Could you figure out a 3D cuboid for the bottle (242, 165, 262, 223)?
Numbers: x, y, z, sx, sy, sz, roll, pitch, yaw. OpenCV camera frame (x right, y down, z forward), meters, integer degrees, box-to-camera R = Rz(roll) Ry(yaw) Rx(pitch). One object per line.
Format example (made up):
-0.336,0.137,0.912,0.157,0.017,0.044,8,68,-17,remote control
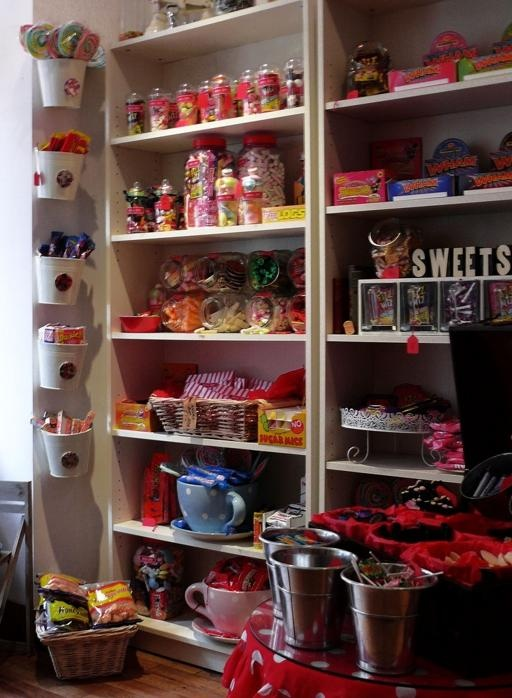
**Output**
-0.016,-0.520,1.938,0.075,0.212,0.137,-2,6,-2,bottle

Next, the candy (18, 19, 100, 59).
-0.747,-1.171,2.198,0.293,0.130,0.160,-4,7,-21,candy

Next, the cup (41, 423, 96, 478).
-0.766,0.392,2.301,0.203,0.160,0.214,0,0,0,cup

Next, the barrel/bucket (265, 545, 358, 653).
0.078,0.364,0.859,0.128,0.111,0.130,0,-10,0,barrel/bucket

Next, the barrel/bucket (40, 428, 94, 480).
-0.739,0.422,2.245,0.204,0.161,0.217,0,1,0,barrel/bucket

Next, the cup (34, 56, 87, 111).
-0.756,-1.032,2.220,0.185,0.151,0.200,1,4,0,cup

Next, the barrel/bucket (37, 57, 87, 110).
-0.747,-1.027,2.235,0.178,0.144,0.192,1,5,0,barrel/bucket

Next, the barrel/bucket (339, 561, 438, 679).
0.170,0.347,0.769,0.127,0.104,0.124,0,-8,0,barrel/bucket

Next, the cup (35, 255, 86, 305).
-0.760,-0.266,2.243,0.180,0.142,0.192,3,2,0,cup

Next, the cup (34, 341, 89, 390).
-0.751,0.063,2.193,0.183,0.144,0.192,6,-1,0,cup

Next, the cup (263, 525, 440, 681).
0.139,0.280,0.791,0.267,0.119,0.132,-1,-7,40,cup

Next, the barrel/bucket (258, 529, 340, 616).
0.065,0.354,0.970,0.141,0.138,0.136,1,-4,0,barrel/bucket

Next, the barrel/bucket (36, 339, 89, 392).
-0.747,0.062,2.193,0.198,0.146,0.177,7,2,31,barrel/bucket

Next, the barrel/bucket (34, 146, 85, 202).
-0.755,-0.661,2.175,0.182,0.142,0.190,4,4,0,barrel/bucket

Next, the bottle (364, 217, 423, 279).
0.375,-0.290,1.681,0.140,0.178,0.182,1,-7,-6,bottle

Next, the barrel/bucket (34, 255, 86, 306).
-0.763,-0.266,2.243,0.180,0.142,0.191,4,2,0,barrel/bucket

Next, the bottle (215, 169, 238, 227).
-0.100,-0.521,1.992,0.082,0.205,0.144,-2,6,-4,bottle
